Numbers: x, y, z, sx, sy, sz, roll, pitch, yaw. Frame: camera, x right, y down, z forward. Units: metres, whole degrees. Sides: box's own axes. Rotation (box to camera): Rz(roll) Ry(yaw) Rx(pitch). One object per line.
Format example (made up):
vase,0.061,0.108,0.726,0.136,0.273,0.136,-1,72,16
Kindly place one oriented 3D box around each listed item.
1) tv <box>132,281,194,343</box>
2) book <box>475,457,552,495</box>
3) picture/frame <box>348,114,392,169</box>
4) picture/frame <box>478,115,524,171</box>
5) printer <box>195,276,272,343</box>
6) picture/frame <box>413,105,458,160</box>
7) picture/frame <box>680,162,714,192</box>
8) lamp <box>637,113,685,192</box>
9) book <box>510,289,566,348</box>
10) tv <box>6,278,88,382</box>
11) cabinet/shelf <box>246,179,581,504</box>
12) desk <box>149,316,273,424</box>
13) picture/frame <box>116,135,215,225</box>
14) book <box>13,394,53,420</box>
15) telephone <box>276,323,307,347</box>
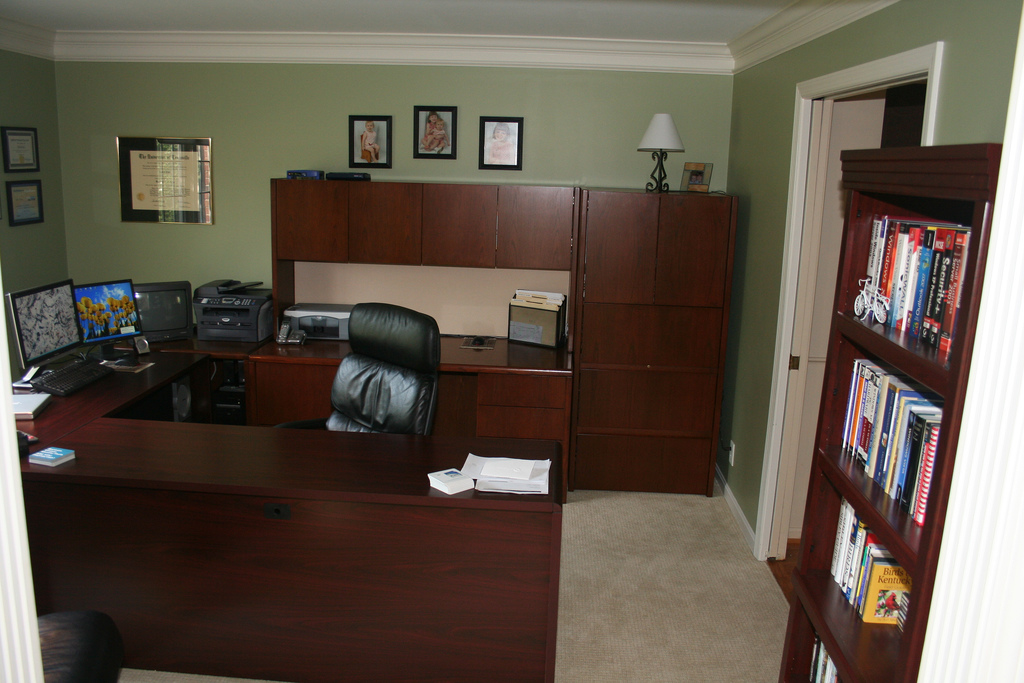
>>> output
tv,-2.540,-0.215,5.404,0.394,0.406,0.232,-1,17,-13
book,0.005,0.628,3.522,0.356,0.072,0.290,1,12,-2
picture/frame,-1.080,-1.558,5.701,0.388,0.454,0.034,1,12,-2
picture/frame,-0.084,-1.534,5.657,0.388,0.440,0.018,1,17,5
printer,-2.062,-0.272,5.683,0.489,0.357,0.485,1,7,0
picture/frame,-0.580,-1.616,5.662,0.371,0.433,0.032,1,11,-2
picture/frame,1.333,-1.199,5.403,0.249,0.254,0.024,14,-2,39
lamp,1.070,-1.376,5.388,0.312,0.554,0.564,3,12,10
book,0.189,-0.162,5.517,0.333,0.328,0.197,8,22,15
tv,-2.760,-0.054,4.445,0.195,0.576,0.572,3,12,8
cabinet/shelf,-0.610,-0.045,4.828,2.233,2.186,0.861,1,10,0
desk,-2.119,0.279,5.287,0.829,0.814,0.578,2,9,7
picture/frame,-2.695,-1.301,5.826,0.660,0.584,0.067,2,16,2
book,-2.577,0.353,4.010,0.230,0.050,0.254,0,14,-12
telephone,-1.645,-0.053,5.524,0.166,0.112,0.167,-2,16,-4
